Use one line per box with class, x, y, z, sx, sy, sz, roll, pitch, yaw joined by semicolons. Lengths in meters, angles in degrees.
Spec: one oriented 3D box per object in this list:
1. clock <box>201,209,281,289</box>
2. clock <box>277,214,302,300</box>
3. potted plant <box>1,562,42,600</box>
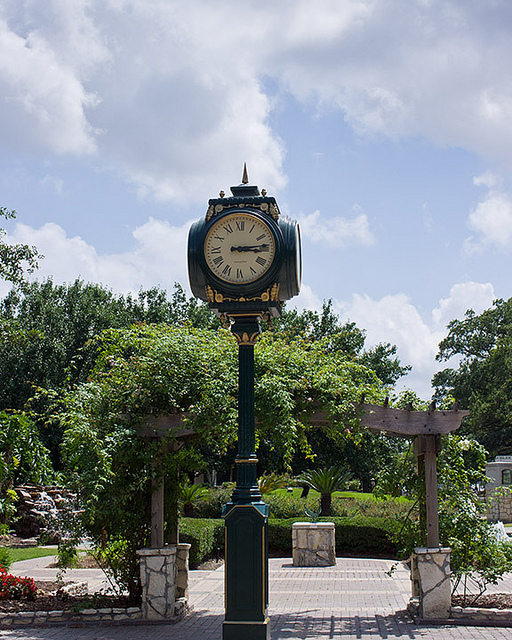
clock;-0.192;-0.830;9.554;1.018;0.957;0.079;0;-1;28
clock;0.396;-0.766;9.596;0.281;1.018;0.539;1;-11;1
potted plant;-3.284;3.692;11.204;0.427;0.226;0.422;4;-1;-12
